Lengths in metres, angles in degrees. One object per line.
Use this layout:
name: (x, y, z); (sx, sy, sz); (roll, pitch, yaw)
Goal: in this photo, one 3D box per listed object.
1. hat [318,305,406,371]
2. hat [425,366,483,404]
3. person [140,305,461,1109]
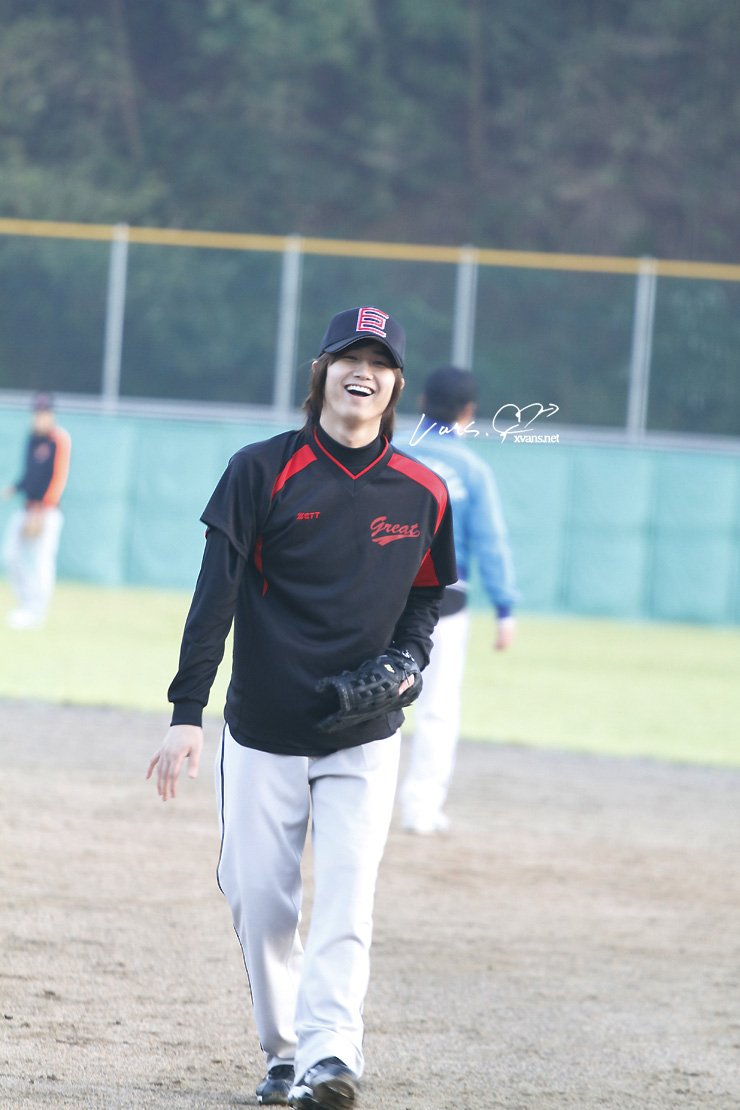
hat: (-0.017, -0.506, 3.235); (0.144, 0.085, 0.171); (8, -14, -6)
hat: (0.308, -0.650, 5.372); (0.166, 0.153, 0.188); (2, 7, -1)
person: (-0.175, 0.328, 3.186); (0.526, 1.781, 0.519); (5, 4, 11)
